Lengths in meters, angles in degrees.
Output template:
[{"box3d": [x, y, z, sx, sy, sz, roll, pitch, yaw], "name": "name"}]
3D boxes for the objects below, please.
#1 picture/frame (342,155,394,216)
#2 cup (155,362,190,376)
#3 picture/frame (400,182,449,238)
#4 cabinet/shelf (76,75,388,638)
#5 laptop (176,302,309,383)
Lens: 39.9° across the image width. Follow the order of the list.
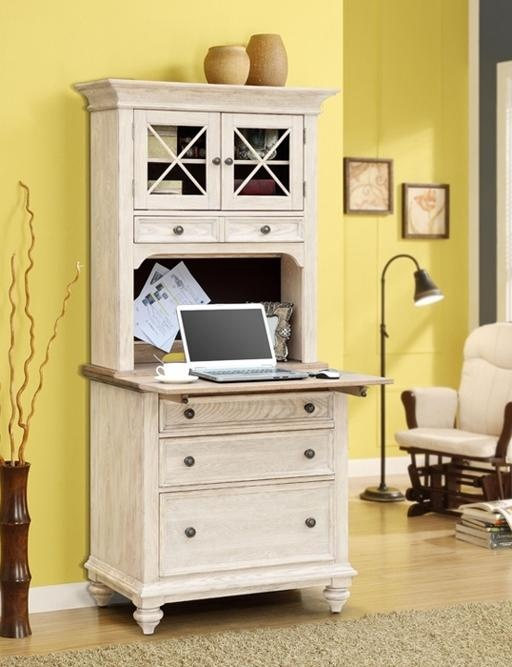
[{"box3d": [0.778, -1.016, 4.852, 0.022, 0.388, 0.425, -17, 22, -37], "name": "picture/frame"}, {"box3d": [-0.265, 0.105, 2.174, 0.072, 0.033, 0.051, -2, 6, -10], "name": "cup"}, {"box3d": [1.187, -0.894, 5.047, 0.452, 0.433, 0.038, -5, 8, -26], "name": "picture/frame"}, {"box3d": [-0.099, 0.081, 2.392, 0.896, 1.864, 0.703, -3, 4, -24], "name": "cabinet/shelf"}, {"box3d": [-0.043, 0.031, 2.410, 0.390, 0.213, 0.366, -6, 13, -42], "name": "laptop"}]
